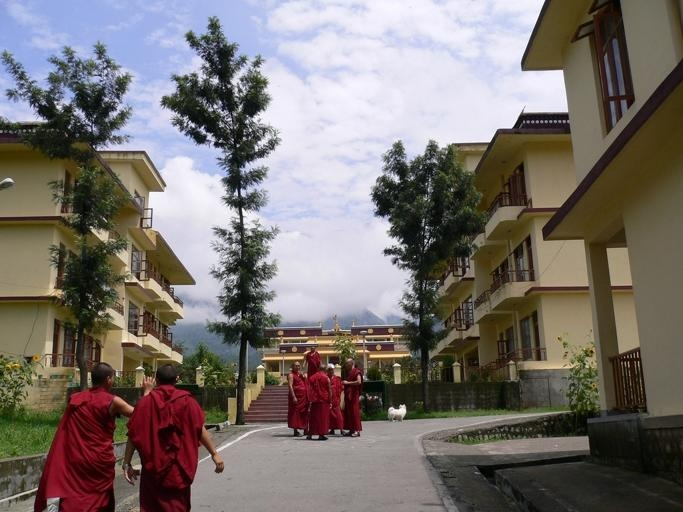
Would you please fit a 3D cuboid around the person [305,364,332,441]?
[{"bbox_3d":[-0.643,4.269,16.337,0.708,2.074,0.722,0,-16,-2],"label":"person"}]

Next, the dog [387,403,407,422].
[{"bbox_3d":[2.412,6.856,24.518,0.666,0.658,0.896,-1,-18,-1],"label":"dog"}]
